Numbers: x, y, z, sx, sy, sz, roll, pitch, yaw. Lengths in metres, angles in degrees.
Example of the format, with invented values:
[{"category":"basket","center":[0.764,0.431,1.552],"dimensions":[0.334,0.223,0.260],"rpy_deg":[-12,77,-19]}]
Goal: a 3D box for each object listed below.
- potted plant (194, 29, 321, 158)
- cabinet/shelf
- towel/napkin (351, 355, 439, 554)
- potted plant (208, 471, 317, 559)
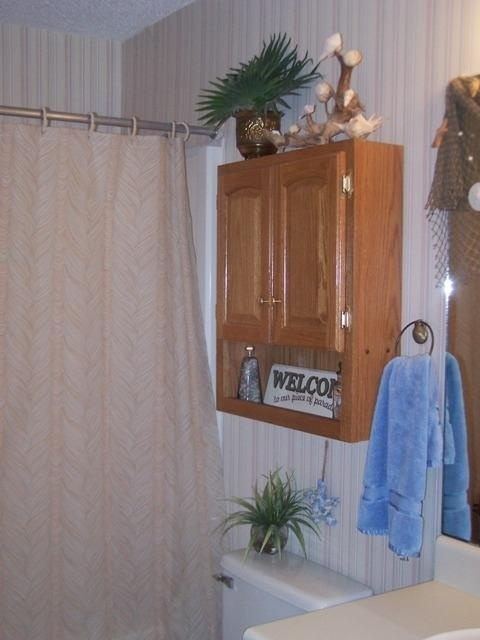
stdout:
[{"category":"potted plant","center":[0.052,-0.610,1.782],"dimensions":[0.240,0.331,0.290],"rpy_deg":[4,21,1]},{"category":"cabinet/shelf","center":[0.156,-0.076,1.687],"dimensions":[0.196,0.708,0.589],"rpy_deg":[-2,3,-34]},{"category":"towel/napkin","center":[0.333,0.299,1.408],"dimensions":[0.142,0.477,0.062],"rpy_deg":[6,17,16]},{"category":"potted plant","center":[0.082,0.578,1.850],"dimensions":[0.231,0.221,0.288],"rpy_deg":[-3,8,5]}]
